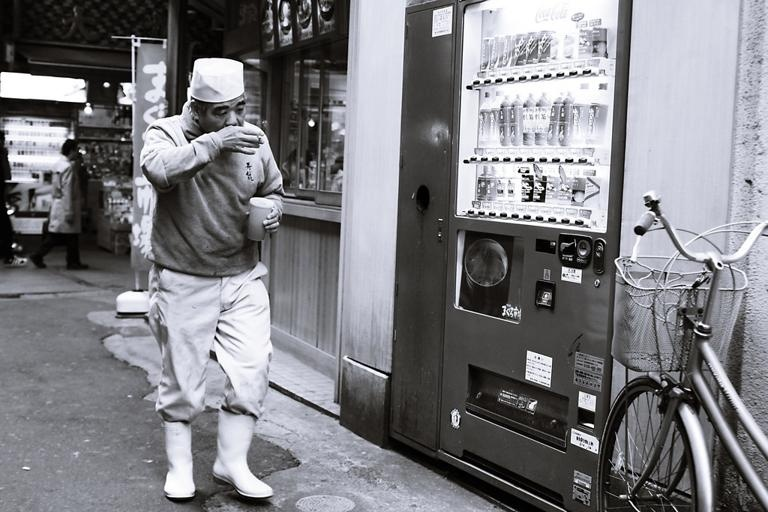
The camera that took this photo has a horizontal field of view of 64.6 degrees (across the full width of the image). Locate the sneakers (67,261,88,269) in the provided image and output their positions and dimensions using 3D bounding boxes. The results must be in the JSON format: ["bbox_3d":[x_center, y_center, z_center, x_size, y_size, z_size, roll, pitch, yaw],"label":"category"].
[{"bbox_3d":[-6.045,0.181,11.920,0.344,0.164,0.131,-1,5,-21],"label":"sneakers"}]

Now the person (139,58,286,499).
[{"bbox_3d":[-1.101,0.170,3.860,0.865,2.788,0.614,0,6,-11],"label":"person"}]

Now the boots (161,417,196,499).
[{"bbox_3d":[-1.330,1.304,3.910,0.192,0.470,0.471,1,-3,-21],"label":"boots"}]

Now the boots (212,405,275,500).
[{"bbox_3d":[-0.894,1.255,3.873,0.453,0.489,0.215,7,2,25],"label":"boots"}]

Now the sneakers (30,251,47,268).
[{"bbox_3d":[-6.741,0.082,11.776,0.250,0.287,0.213,-3,8,-34],"label":"sneakers"}]

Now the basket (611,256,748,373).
[{"bbox_3d":[1.388,0.242,3.028,0.612,0.589,0.542,6,5,14],"label":"basket"}]

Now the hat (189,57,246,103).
[{"bbox_3d":[-1.020,-1.123,3.749,0.280,0.177,0.299,1,22,-2],"label":"hat"}]
